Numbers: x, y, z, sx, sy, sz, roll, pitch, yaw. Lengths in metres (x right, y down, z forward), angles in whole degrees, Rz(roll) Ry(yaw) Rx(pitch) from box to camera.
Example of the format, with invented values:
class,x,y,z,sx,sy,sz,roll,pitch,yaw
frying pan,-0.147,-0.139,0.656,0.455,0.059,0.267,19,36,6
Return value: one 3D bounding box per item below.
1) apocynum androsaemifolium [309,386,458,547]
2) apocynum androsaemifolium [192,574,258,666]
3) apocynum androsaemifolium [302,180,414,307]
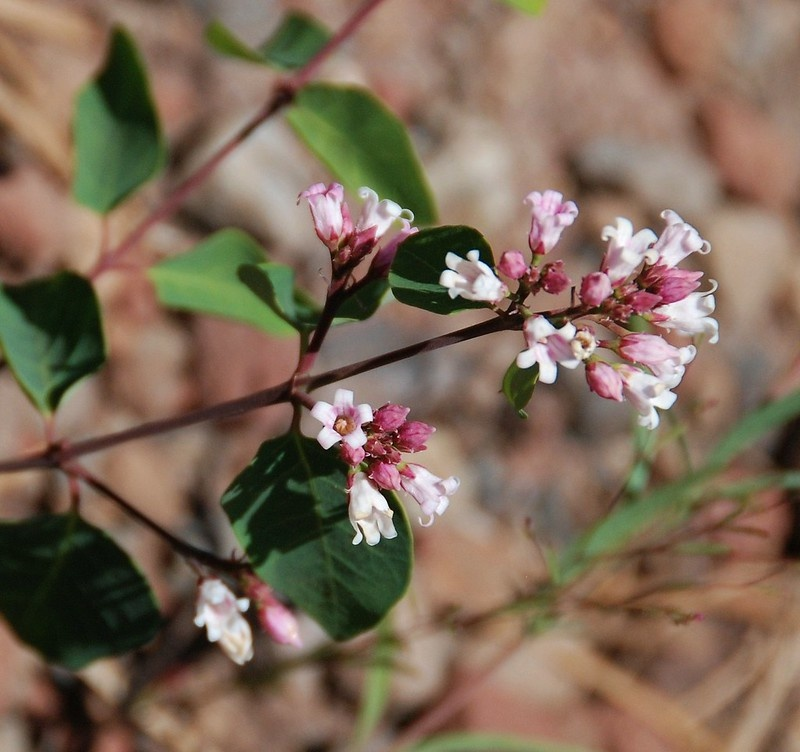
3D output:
class,x,y,z,sx,sy,sz,roll,pitch,yaw
apocynum androsaemifolium,-0.033,0.174,1.919,0.205,0.247,0.294,-7,-47,25
apocynum androsaemifolium,-0.346,0.517,2.058,0.137,0.073,0.174,-31,-87,-4
apocynum androsaemifolium,-0.111,-0.253,2.031,0.236,0.195,0.286,8,-74,9
